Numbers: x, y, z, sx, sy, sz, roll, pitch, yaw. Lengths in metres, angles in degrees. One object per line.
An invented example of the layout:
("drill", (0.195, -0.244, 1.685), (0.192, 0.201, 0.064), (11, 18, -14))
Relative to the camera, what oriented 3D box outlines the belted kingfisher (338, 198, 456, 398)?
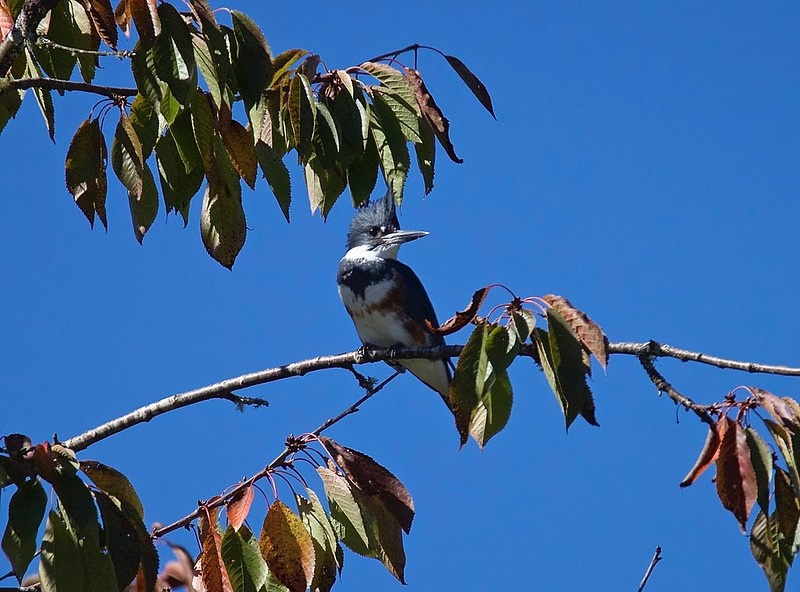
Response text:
("belted kingfisher", (-0.006, -0.059, 7.606), (0.402, 0.804, 0.721), (4, 2, 39))
